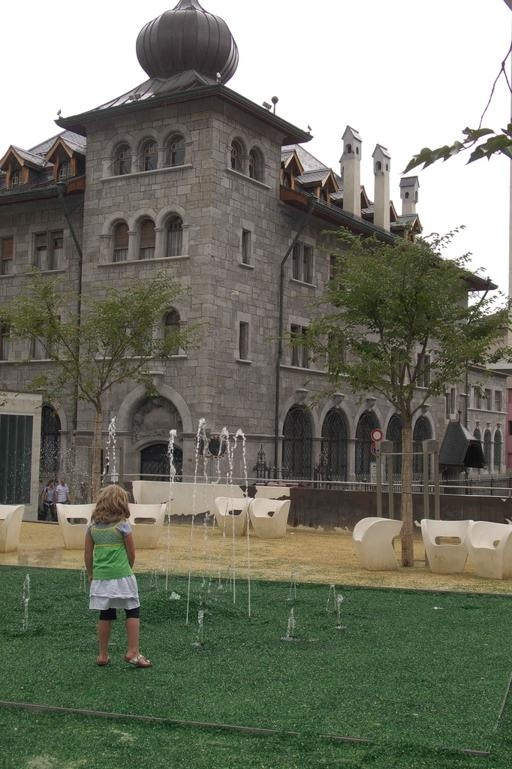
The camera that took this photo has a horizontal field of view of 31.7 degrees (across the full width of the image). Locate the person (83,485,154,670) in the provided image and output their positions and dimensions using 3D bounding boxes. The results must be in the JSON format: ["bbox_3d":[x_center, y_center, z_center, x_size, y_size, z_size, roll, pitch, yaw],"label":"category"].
[{"bbox_3d":[-1.100,1.526,7.241,0.547,1.426,0.342,1,-8,-3],"label":"person"}]

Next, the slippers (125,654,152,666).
[{"bbox_3d":[-0.927,2.198,7.212,0.177,0.096,0.098,6,1,1],"label":"slippers"}]

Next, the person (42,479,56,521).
[{"bbox_3d":[-6.212,3.497,27.294,0.423,1.181,1.319,3,-9,-14],"label":"person"}]
